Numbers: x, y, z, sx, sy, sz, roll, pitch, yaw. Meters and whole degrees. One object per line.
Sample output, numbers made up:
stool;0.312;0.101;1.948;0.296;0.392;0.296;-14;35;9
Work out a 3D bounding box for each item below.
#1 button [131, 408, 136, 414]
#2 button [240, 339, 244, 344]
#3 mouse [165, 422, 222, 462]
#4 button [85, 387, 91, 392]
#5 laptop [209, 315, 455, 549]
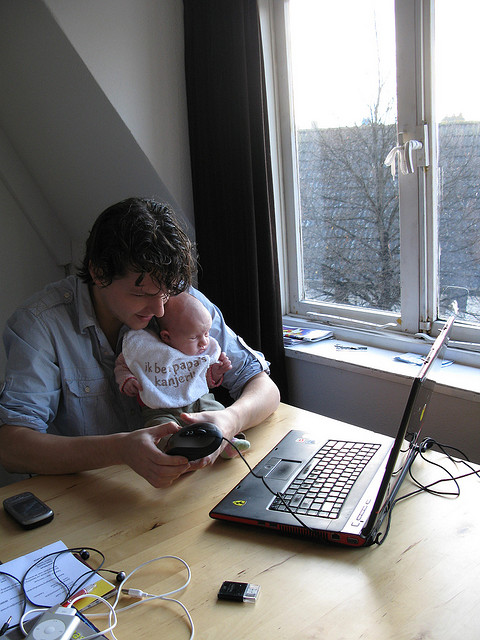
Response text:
button;-0.263;0.224;1.244;0.013;0.012;0.003;11;-15;-36
button;0.007;0.065;1.448;0.002;0.010;0.010;-16;28;34
mouse;-0.078;0.216;0.893;0.088;0.028;0.061;-14;37;23
button;-0.360;0.164;1.195;0.011;0.011;0.003;2;-6;-25
laptop;0.174;0.167;0.901;0.335;0.264;0.398;1;13;28
